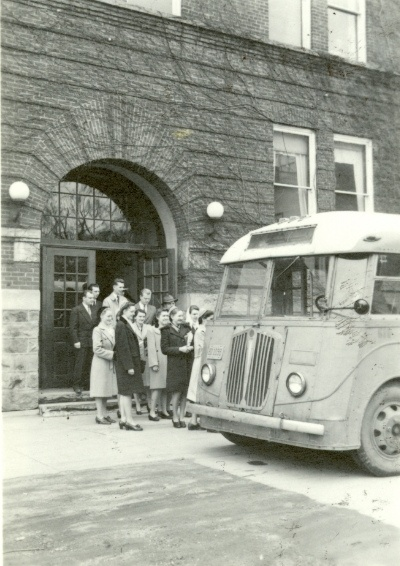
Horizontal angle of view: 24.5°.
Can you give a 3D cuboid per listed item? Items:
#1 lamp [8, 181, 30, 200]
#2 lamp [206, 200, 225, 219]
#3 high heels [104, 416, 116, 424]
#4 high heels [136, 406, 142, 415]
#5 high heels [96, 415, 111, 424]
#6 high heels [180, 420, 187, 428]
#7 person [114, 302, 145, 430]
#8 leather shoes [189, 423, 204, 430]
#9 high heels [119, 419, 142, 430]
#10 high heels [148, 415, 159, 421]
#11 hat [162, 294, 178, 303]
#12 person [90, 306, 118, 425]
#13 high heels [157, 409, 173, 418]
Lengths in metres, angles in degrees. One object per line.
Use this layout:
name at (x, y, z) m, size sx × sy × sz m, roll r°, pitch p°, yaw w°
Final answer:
lamp at (-2.542, -1.296, 12.914) m, size 0.275 × 0.290 × 0.260 m, roll 3°, pitch 7°, yaw -5°
lamp at (0.218, -1.190, 15.161) m, size 0.283 × 0.298 × 0.272 m, roll 1°, pitch 6°, yaw -5°
high heels at (-1.211, 1.830, 12.171) m, size 0.158 × 0.061 × 0.067 m, roll 1°, pitch -1°, yaw 16°
high heels at (-0.902, 1.850, 13.230) m, size 0.085 × 0.098 × 0.244 m, roll 1°, pitch -11°, yaw -11°
high heels at (-1.287, 1.832, 12.123) m, size 0.214 × 0.081 × 0.079 m, roll -1°, pitch -3°, yaw 13°
high heels at (-0.238, 1.834, 11.897) m, size 0.059 × 0.062 × 0.155 m, roll 1°, pitch -9°, yaw -12°
person at (-0.914, 1.067, 11.533) m, size 0.326 × 1.602 × 0.469 m, roll -1°, pitch 4°, yaw -7°
leather shoes at (-0.085, 1.843, 11.719) m, size 0.244 × 0.090 × 0.087 m, roll -1°, pitch 3°, yaw -33°
high heels at (-0.891, 1.785, 11.490) m, size 0.328 × 0.119 × 0.116 m, roll -2°, pitch -4°, yaw 1°
high heels at (-0.642, 1.858, 12.501) m, size 0.056 × 0.061 × 0.160 m, roll 3°, pitch -8°, yaw -34°
hat at (-0.477, 0.213, 13.316) m, size 0.151 × 0.060 × 0.163 m, roll -8°, pitch -6°, yaw -12°
person at (-1.293, 1.111, 12.114) m, size 0.342 × 1.532 × 0.707 m, roll -1°, pitch 4°, yaw -6°
high heels at (-0.520, 1.864, 12.880) m, size 0.077 × 0.085 × 0.227 m, roll 11°, pitch -15°, yaw -42°
